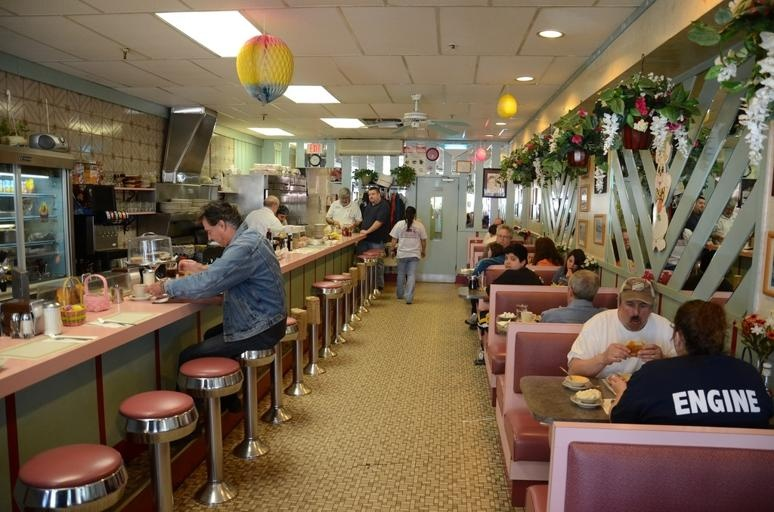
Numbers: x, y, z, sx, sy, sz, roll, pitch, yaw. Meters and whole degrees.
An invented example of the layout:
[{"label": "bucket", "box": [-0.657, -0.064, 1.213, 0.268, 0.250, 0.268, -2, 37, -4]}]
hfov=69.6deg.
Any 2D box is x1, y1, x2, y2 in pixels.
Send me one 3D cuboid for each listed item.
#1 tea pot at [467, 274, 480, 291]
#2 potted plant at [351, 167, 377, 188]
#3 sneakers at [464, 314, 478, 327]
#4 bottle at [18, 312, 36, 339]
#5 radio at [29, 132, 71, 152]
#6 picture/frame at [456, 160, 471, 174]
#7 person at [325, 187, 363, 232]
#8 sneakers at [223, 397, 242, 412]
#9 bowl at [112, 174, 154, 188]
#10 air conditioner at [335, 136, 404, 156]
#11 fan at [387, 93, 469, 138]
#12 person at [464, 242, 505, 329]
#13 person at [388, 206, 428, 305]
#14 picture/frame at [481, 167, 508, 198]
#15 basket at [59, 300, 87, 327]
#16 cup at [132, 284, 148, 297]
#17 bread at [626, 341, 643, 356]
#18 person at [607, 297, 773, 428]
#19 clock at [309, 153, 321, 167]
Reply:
[{"label": "tea pot", "box": [1.102, 0.297, 7.011, 0.127, 0.184, 0.199, 2, 1, 8]}, {"label": "potted plant", "box": [-0.477, -1.897, 12.849, 0.460, 0.292, 0.463, 0, 8, -14]}, {"label": "sneakers", "box": [1.337, 0.961, 8.634, 0.093, 0.176, 0.258, 9, 6, -30]}, {"label": "bottle", "box": [-2.411, 0.450, 3.727, 0.082, 0.156, 0.079, 1, 11, 0]}, {"label": "radio", "box": [-4.015, -1.368, 6.642, 0.244, 0.104, 0.330, 33, 15, 23]}, {"label": "picture/frame", "box": [1.801, -2.161, 12.966, 0.300, 0.308, 0.073, 0, -1, 2]}, {"label": "person", "box": [-0.869, -0.835, 11.156, 0.834, 1.143, 0.591, 4, 22, -1]}, {"label": "sneakers", "box": [-1.397, 1.327, 5.006, 0.190, 0.130, 0.106, -4, 9, -1]}, {"label": "bowl", "box": [-3.890, -1.249, 8.754, 0.474, 0.221, 0.667, 4, 10, 13]}, {"label": "air conditioner", "box": [-0.384, -2.658, 13.206, 0.961, 0.486, 0.218, 0, 6, 2]}, {"label": "fan", "box": [0.531, -2.129, 8.665, 1.075, 0.366, 1.053, -11, 22, -31]}, {"label": "person", "box": [1.277, 0.254, 7.720, 0.416, 1.077, 0.355, -1, 27, -34]}, {"label": "person", "box": [0.404, -0.077, 10.460, 0.615, 1.849, 0.760, 2, 11, 1]}, {"label": "picture/frame", "box": [2.550, -1.774, 13.030, 0.583, 0.721, 0.476, 2, 10, 1]}, {"label": "basket", "box": [-2.214, 0.401, 3.929, 0.151, 0.106, 0.146, -1, 2, -15]}, {"label": "cup", "box": [-2.004, 0.265, 4.527, 0.102, 0.080, 0.095, -2, -1, 0]}, {"label": "bread", "box": [1.693, 0.617, 3.796, 0.096, 0.068, 0.095, 2, 2, 22]}, {"label": "person", "box": [1.739, 0.622, 3.214, 0.837, 0.679, 0.436, 2, 10, 5]}, {"label": "clock", "box": [-1.701, -2.368, 13.202, 0.287, 0.276, 0.067, 26, 11, 5]}]
